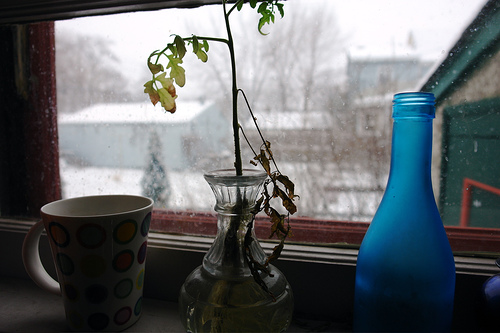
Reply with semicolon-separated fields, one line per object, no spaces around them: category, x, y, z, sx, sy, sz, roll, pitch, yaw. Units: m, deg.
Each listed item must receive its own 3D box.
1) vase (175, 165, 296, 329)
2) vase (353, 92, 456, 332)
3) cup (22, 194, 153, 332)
vase;-0.023;0.164;1.008;0.263;0.362;0.224;0;7;-10
vase;0.309;0.093;0.947;0.184;0.474;0.085;4;8;21
cup;-0.317;0.201;1.126;0.285;0.286;0.249;-1;4;2
